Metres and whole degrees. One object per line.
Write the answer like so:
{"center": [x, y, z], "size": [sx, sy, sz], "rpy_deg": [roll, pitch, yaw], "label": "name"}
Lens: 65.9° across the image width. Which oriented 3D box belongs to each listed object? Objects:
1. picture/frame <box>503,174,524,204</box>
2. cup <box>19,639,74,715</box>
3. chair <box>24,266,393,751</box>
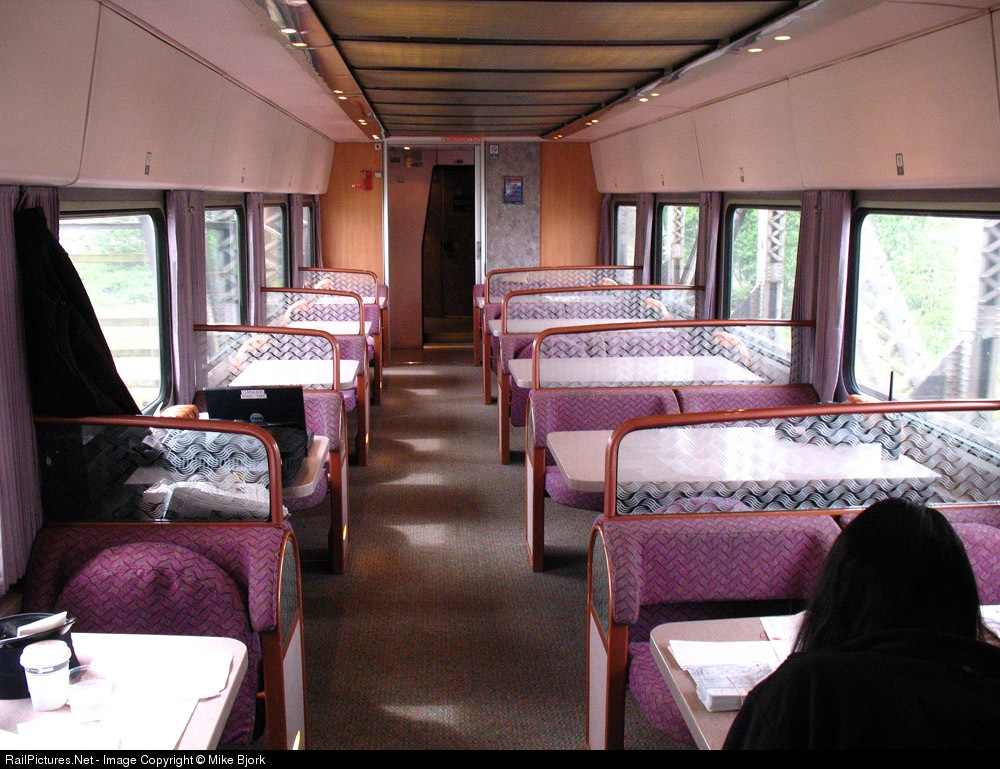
{"center": [0.222, -3.167, 12.224], "size": [0.378, 0.525, 0.067], "rpy_deg": [3, 20, 3], "label": "picture/frame"}
{"center": [-1.334, 0.855, 2.276], "size": [0.123, 0.182, 0.135], "rpy_deg": [-9, 16, -36], "label": "cup"}
{"center": [-1.282, 0.587, 3.947], "size": [1.163, 1.462, 2.218], "rpy_deg": [0, 16, -3], "label": "chair"}
